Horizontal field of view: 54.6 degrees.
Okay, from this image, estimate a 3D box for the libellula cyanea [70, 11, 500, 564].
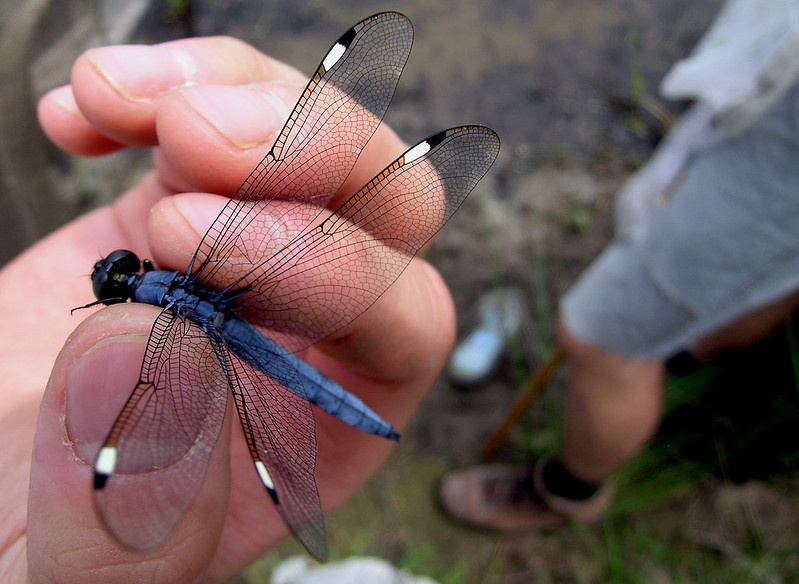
[{"bbox_3d":[-0.130,-0.099,2.079,0.916,1.481,0.654,19,9,12],"label":"libellula cyanea"}]
